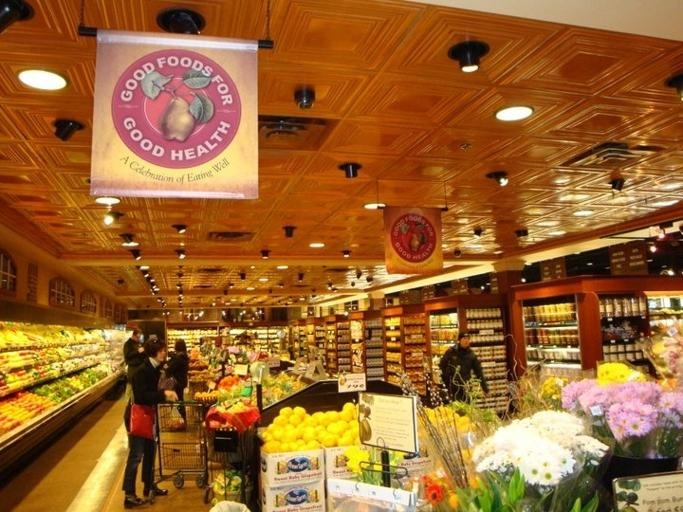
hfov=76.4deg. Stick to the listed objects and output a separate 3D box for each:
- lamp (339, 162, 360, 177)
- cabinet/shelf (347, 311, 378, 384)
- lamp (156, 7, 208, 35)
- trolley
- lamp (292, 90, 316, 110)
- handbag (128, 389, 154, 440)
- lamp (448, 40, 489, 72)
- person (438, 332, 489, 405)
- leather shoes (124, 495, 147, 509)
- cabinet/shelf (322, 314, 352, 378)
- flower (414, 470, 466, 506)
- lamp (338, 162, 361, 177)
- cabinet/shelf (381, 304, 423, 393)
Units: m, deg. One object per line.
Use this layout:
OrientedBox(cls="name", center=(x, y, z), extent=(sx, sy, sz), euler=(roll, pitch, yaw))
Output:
OrientedBox(cls="lamp", center=(0.031, -1.120, 5.653), extent=(0.202, 0.175, 0.194), euler=(3, -27, -8))
OrientedBox(cls="cabinet/shelf", center=(0.749, 3.468, 17.482), extent=(1.126, 2.620, 1.485), euler=(-1, -10, -7))
OrientedBox(cls="lamp", center=(-1.083, -1.604, 2.959), extent=(0.259, 0.080, 0.291), euler=(5, -5, -38))
OrientedBox(cls="trolley", center=(-2.736, 3.303, 7.550), extent=(0.990, 1.461, 1.518), euler=(4, -20, -16))
OrientedBox(cls="lamp", center=(-0.369, -1.406, 3.928), extent=(0.187, 0.139, 0.263), euler=(-1, -10, -4))
OrientedBox(cls="handbag", center=(-2.834, 2.351, 6.293), extent=(0.326, 0.536, 0.316), euler=(2, -11, -23))
OrientedBox(cls="lamp", center=(0.914, -1.579, 3.384), extent=(0.250, 0.107, 0.240), euler=(1, -22, 2))
OrientedBox(cls="person", center=(2.299, 2.550, 8.946), extent=(1.036, 1.824, 0.671), euler=(1, 7, 2))
OrientedBox(cls="leather shoes", center=(-2.760, 3.364, 6.004), extent=(0.366, 0.161, 0.118), euler=(1, -4, -7))
OrientedBox(cls="cabinet/shelf", center=(-0.480, 4.017, 20.208), extent=(0.837, 2.672, 4.131), euler=(-1, -10, -8))
OrientedBox(cls="flower", center=(0.440, 1.133, 2.134), extent=(0.096, 0.081, 0.184), euler=(16, -17, 35))
OrientedBox(cls="lamp", center=(0.035, -1.110, 5.674), extent=(0.208, 0.136, 0.195), euler=(2, -27, -6))
OrientedBox(cls="cabinet/shelf", center=(1.845, 2.940, 14.145), extent=(1.128, 2.748, 3.450), euler=(-2, -10, -3))
